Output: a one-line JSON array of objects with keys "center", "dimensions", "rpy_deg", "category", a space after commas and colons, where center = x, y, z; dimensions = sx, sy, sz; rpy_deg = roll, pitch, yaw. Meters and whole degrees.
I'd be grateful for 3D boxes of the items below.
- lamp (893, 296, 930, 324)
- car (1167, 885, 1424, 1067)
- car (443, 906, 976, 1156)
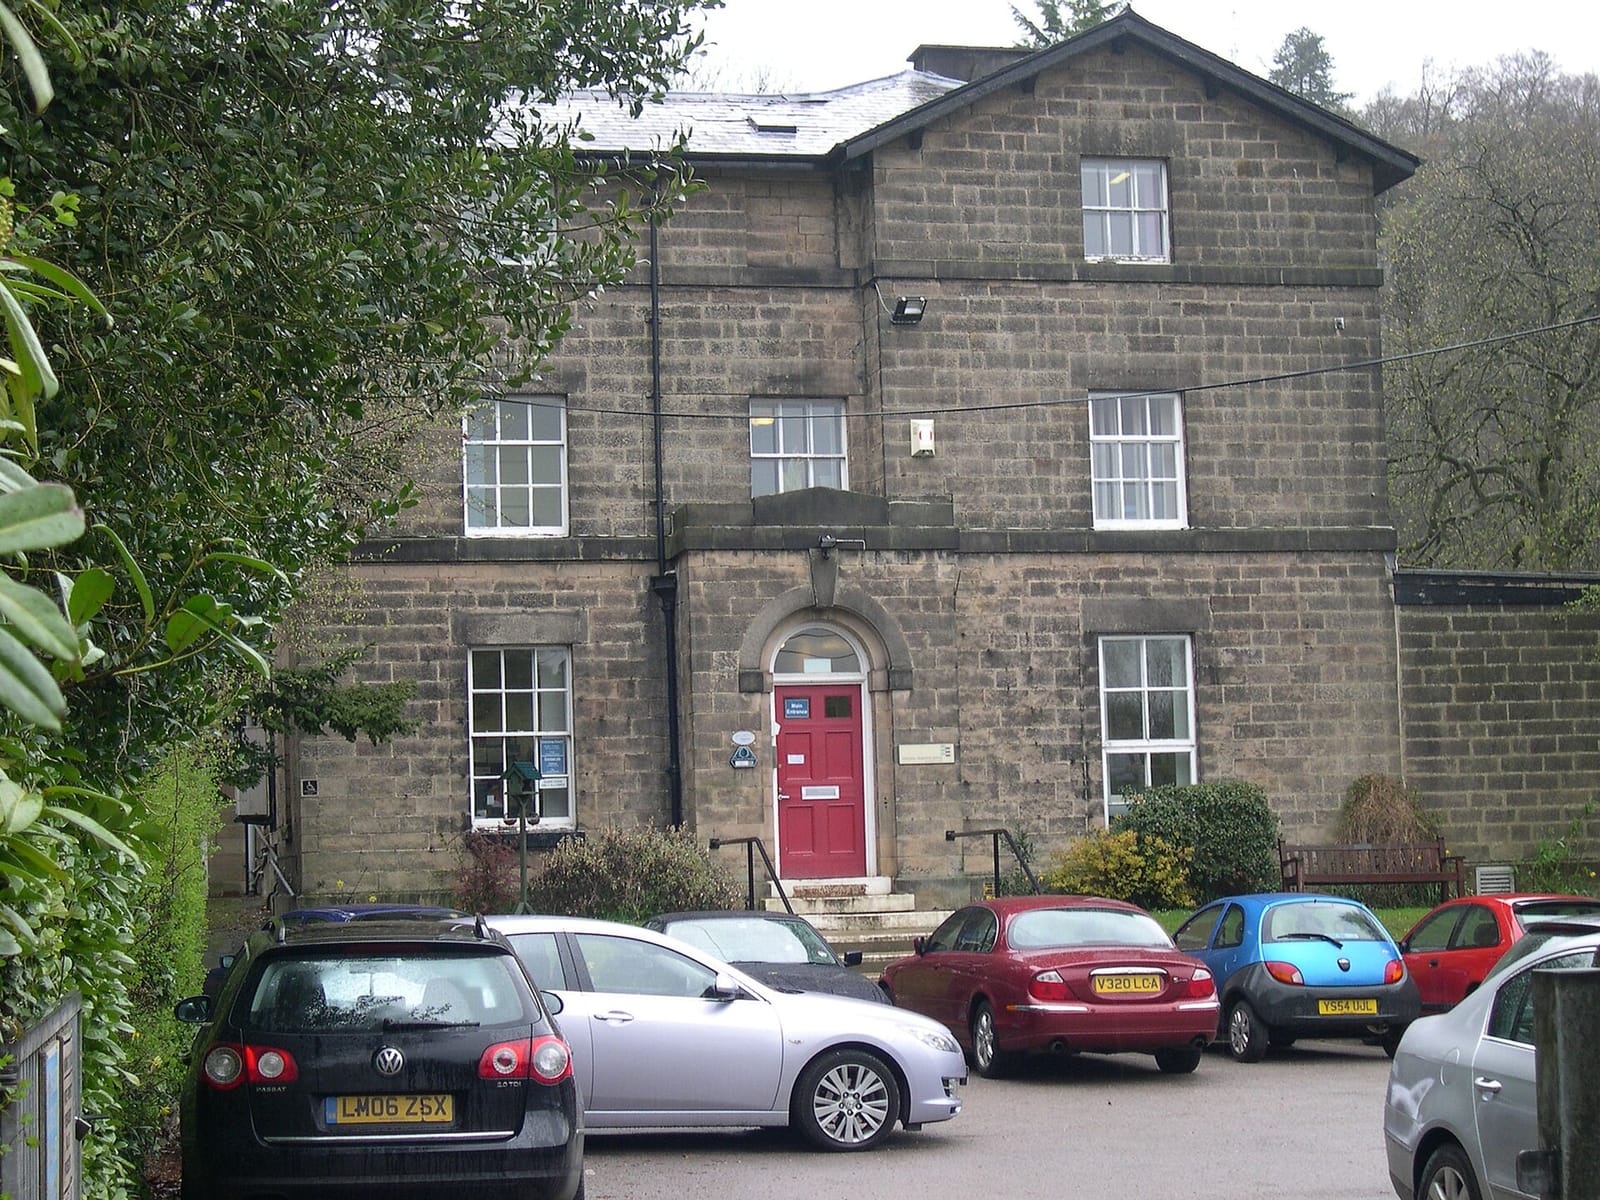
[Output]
[{"center": [1.307, -3.409, 30.101], "dimensions": [0.421, 0.353, 0.359], "rpy_deg": [-1, -6, -5], "category": "lamp"}, {"center": [4.448, 3.427, 23.647], "dimensions": [1.095, 1.068, 2.135], "rpy_deg": [0, -3, -6], "category": "car"}, {"center": [-0.638, 3.123, 19.594], "dimensions": [3.485, 1.464, 1.674], "rpy_deg": [-1, -4, -8], "category": "car"}]
